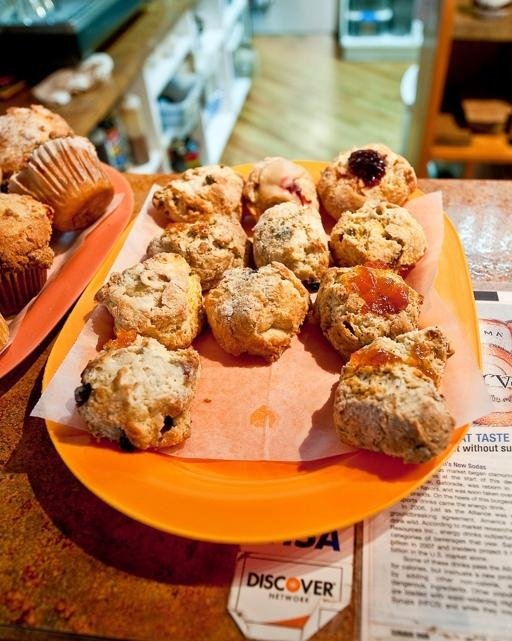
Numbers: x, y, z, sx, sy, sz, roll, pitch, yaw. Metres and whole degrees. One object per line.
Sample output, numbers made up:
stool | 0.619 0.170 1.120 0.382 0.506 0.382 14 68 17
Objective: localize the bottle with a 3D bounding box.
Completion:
bottle | -0.526 -0.738 2.251 0.191 0.318 0.161 -16 89 -7
